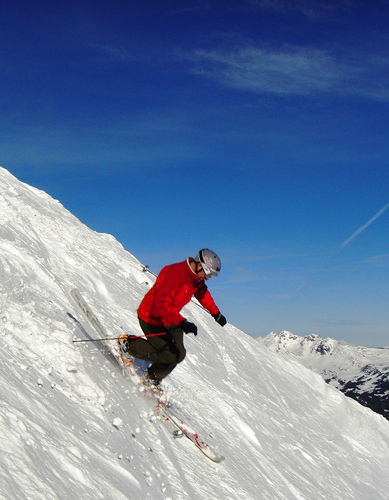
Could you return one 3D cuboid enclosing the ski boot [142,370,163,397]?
[{"bbox_3d":[-1.003,3.169,11.062,0.451,0.207,0.576,29,22,-53],"label":"ski boot"}]
